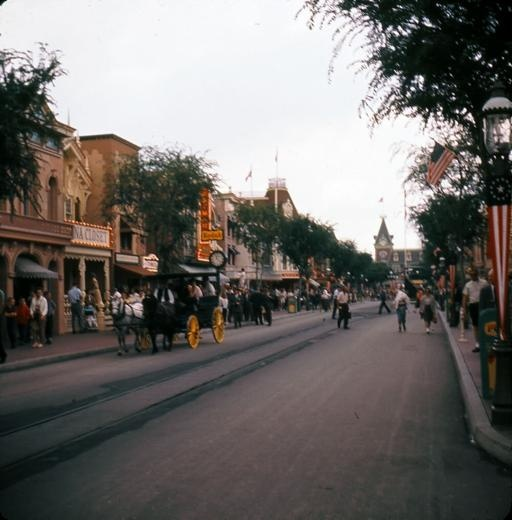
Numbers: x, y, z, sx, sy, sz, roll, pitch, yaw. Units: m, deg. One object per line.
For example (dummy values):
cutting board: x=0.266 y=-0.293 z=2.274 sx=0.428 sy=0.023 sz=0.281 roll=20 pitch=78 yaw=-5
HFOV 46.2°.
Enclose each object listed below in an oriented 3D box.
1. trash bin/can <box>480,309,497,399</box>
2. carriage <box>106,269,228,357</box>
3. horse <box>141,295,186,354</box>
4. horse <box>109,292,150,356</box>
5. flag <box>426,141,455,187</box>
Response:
trash bin/can: x=3.034 y=1.215 z=8.053 sx=0.294 sy=1.203 sz=0.464 roll=0 pitch=4 yaw=23
carriage: x=-2.571 y=1.588 z=18.157 sx=1.709 sy=2.799 sz=3.671 roll=-4 pitch=-2 yaw=29
horse: x=-2.724 y=1.797 z=17.054 sx=0.702 sy=1.682 sz=1.187 roll=-4 pitch=-4 yaw=27
horse: x=-3.513 y=1.862 z=17.750 sx=0.608 sy=2.427 sz=3.057 roll=-2 pitch=-7 yaw=6
flag: x=4.944 y=-2.574 z=15.979 sx=0.595 sy=1.020 sz=1.106 roll=-3 pitch=-4 yaw=0
